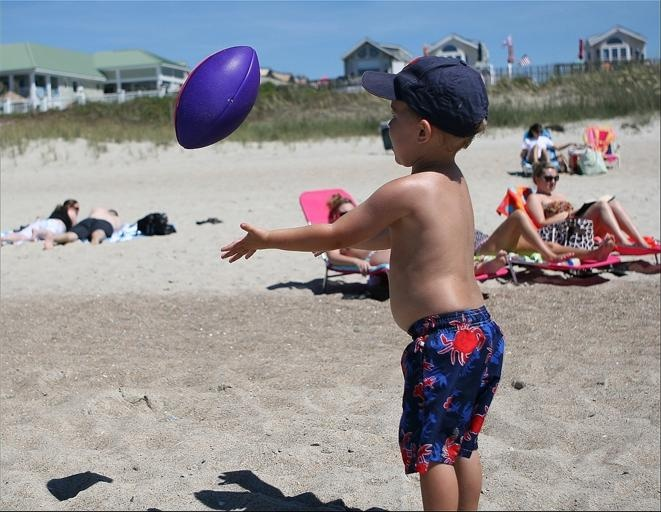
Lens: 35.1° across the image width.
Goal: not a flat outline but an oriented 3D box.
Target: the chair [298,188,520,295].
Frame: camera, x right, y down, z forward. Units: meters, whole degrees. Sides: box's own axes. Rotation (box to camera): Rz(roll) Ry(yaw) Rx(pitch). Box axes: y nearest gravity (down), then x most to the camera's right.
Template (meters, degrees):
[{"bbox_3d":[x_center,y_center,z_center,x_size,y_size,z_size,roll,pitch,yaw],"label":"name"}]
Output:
[{"bbox_3d":[0.261,-0.174,10.974,0.985,0.935,2.110,-6,9,-32],"label":"chair"}]

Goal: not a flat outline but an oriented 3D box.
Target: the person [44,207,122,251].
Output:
[{"bbox_3d":[-2.886,-0.345,12.654,0.291,0.276,0.981,14,17,4],"label":"person"}]

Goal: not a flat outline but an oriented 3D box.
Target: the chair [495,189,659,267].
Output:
[{"bbox_3d":[2.613,-0.339,11.029,0.716,0.833,2.124,-12,13,-27],"label":"chair"}]

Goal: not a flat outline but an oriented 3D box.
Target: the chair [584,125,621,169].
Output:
[{"bbox_3d":[3.876,-1.582,14.713,0.419,0.628,0.480,-4,8,-15],"label":"chair"}]
